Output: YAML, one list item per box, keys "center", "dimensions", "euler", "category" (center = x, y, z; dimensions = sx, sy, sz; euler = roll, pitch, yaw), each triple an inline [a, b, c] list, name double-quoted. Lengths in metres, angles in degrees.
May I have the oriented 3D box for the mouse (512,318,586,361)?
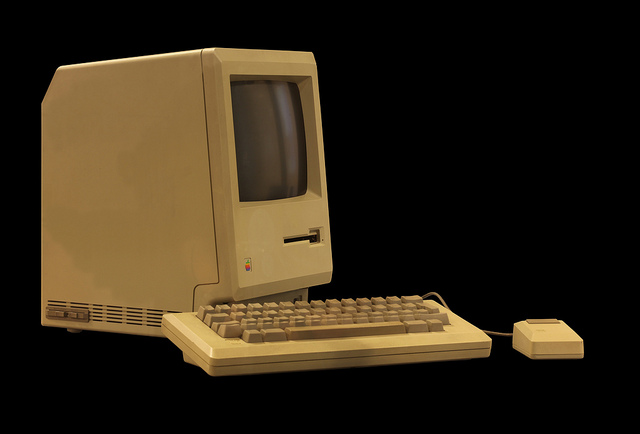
- center: [0.904, 0.483, 2.375]
  dimensions: [0.223, 0.125, 0.264]
  euler: [1, 9, -7]
  category: "mouse"
